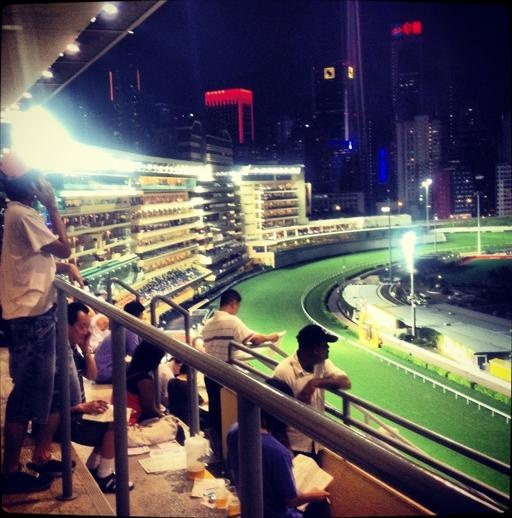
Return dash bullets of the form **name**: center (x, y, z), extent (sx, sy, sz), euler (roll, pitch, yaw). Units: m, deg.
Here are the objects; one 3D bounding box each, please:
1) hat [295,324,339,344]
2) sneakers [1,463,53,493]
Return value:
- **hat**: center (0.626, 0.772, 4.597), extent (0.393, 0.177, 0.238), euler (-1, 4, -15)
- **sneakers**: center (-1.400, 1.376, 2.951), extent (0.316, 0.127, 0.111), euler (1, 22, -14)
